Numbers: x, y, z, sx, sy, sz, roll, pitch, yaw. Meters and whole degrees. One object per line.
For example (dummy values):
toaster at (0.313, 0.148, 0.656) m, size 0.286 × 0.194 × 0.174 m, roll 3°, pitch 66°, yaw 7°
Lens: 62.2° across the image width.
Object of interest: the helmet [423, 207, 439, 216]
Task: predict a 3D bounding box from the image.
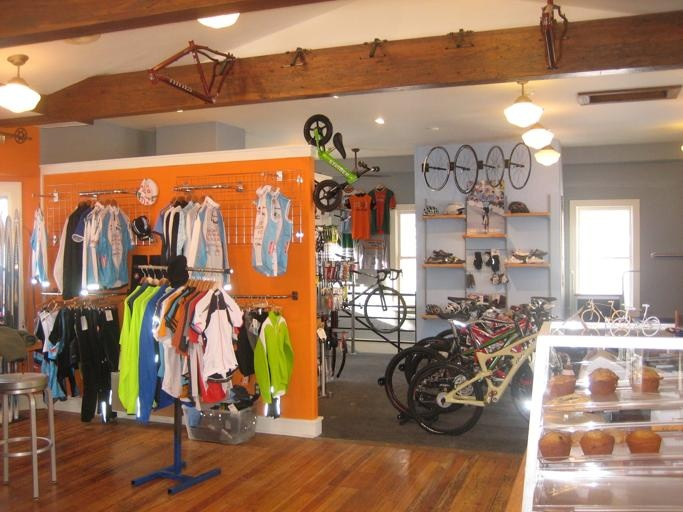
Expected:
helmet at (1.407, -0.723, 9.045) m, size 0.135 × 0.094 × 0.181 m, roll -1°, pitch 1°, yaw -4°

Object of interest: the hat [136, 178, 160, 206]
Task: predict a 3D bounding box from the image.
hat at (-2.090, -0.696, 6.070) m, size 0.288 × 0.363 × 0.192 m, roll 3°, pitch 3°, yaw 13°

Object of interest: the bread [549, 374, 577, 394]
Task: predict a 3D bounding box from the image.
bread at (0.878, 0.517, 2.257) m, size 0.079 × 0.078 × 0.084 m, roll 0°, pitch 1°, yaw 21°

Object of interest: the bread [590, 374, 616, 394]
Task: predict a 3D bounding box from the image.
bread at (1.050, 0.507, 2.261) m, size 0.076 × 0.053 × 0.076 m, roll -2°, pitch 0°, yaw 17°

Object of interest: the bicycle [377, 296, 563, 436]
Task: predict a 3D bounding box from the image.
bicycle at (1.112, 1.181, 6.046) m, size 2.164 × 1.297 × 1.072 m, roll -6°, pitch -2°, yaw 25°

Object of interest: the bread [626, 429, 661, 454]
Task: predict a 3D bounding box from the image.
bread at (1.133, 0.693, 2.112) m, size 0.098 × 0.064 × 0.094 m, roll -4°, pitch -4°, yaw 5°

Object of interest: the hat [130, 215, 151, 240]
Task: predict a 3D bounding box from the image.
hat at (-2.190, -0.307, 6.118) m, size 0.232 × 0.260 × 0.095 m, roll 1°, pitch 2°, yaw 34°

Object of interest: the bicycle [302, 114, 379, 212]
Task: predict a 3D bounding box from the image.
bicycle at (-0.061, -0.966, 5.652) m, size 0.655 × 0.981 × 0.488 m, roll -12°, pitch -2°, yaw 21°

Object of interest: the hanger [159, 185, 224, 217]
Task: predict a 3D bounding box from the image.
hanger at (-1.543, -0.621, 5.809) m, size 0.666 × 0.262 × 0.287 m, roll 0°, pitch 2°, yaw 21°

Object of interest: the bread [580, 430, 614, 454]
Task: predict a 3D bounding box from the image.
bread at (0.971, 0.680, 2.138) m, size 0.100 × 0.066 × 0.094 m, roll -1°, pitch 2°, yaw 23°

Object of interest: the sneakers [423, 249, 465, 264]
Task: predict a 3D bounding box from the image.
sneakers at (1.601, 0.006, 8.938) m, size 0.661 × 0.256 × 0.221 m, roll -1°, pitch -3°, yaw 8°

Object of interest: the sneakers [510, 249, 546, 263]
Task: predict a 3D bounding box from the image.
sneakers at (2.841, -0.002, 8.568) m, size 0.536 × 0.206 × 0.280 m, roll 0°, pitch 2°, yaw 19°

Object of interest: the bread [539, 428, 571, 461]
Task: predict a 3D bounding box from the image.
bread at (0.806, 0.715, 2.132) m, size 0.103 × 0.073 × 0.110 m, roll -2°, pitch 0°, yaw 35°

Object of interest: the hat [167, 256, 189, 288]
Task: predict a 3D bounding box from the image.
hat at (-1.432, 0.132, 4.906) m, size 0.182 × 0.268 × 0.070 m, roll -1°, pitch 3°, yaw 4°
